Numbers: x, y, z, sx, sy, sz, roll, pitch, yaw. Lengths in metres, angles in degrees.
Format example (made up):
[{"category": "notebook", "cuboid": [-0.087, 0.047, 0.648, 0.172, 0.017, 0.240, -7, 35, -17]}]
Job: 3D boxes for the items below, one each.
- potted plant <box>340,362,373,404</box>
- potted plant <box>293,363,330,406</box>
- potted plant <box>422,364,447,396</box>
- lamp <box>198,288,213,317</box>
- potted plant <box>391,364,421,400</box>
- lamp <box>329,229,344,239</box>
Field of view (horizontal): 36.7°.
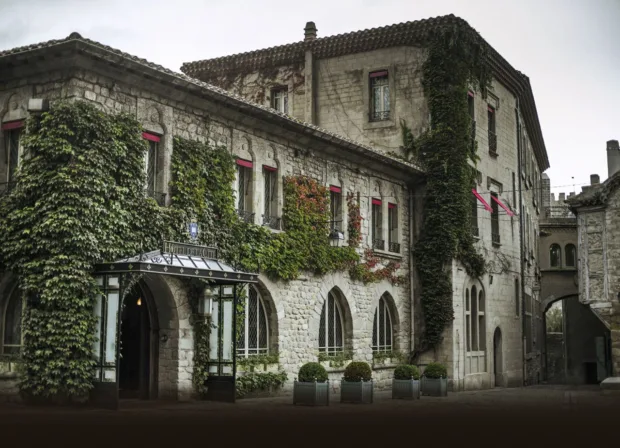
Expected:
[{"category": "potted plant", "cuboid": [1.261, 4.722, 28.102, 1.015, 1.611, 1.185, -3, -10, 28]}, {"category": "potted plant", "cuboid": [0.048, 4.592, 27.116, 0.889, 1.309, 0.802, -4, -10, 35]}, {"category": "potted plant", "cuboid": [4.326, 5.314, 32.404, 0.780, 1.162, 0.837, 14, -15, -43]}, {"category": "lamp", "cuboid": [-3.051, 2.264, 27.432, 0.390, 0.766, 0.299, 0, -13, -8]}, {"category": "potted plant", "cuboid": [3.066, 5.079, 29.892, 0.880, 1.413, 1.084, -1, -4, 3]}, {"category": "lamp", "cuboid": [0.892, 0.368, 31.995, 0.334, 0.244, 0.360, -1, -6, 28]}]
